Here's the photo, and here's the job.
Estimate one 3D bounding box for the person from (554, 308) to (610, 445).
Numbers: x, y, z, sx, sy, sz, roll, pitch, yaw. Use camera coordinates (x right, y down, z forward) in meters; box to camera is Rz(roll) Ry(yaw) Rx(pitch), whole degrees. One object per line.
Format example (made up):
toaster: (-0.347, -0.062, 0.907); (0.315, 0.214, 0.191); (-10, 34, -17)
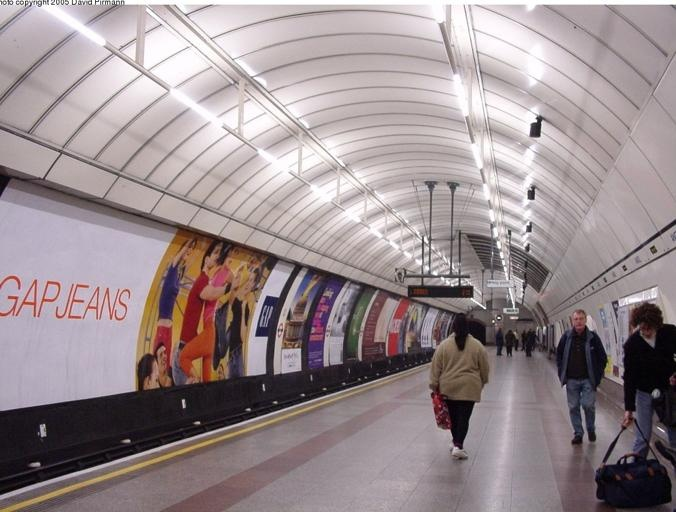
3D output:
person: (3.947, 1.954, 6.447); (0.712, 2.130, 0.632); (-3, -12, 17)

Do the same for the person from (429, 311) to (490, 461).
person: (1.779, 1.880, 5.832); (0.824, 2.044, 0.645); (-4, -12, 17)

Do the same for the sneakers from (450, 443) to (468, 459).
sneakers: (1.749, 2.823, 5.708); (0.130, 0.162, 0.363); (5, -17, 41)

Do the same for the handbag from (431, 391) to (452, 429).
handbag: (1.478, 2.228, 5.718); (0.266, 0.494, 0.269); (-3, -12, 13)

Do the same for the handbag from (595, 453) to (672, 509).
handbag: (2.760, 2.136, 3.725); (0.581, 0.376, 0.226); (-1, -12, 2)
